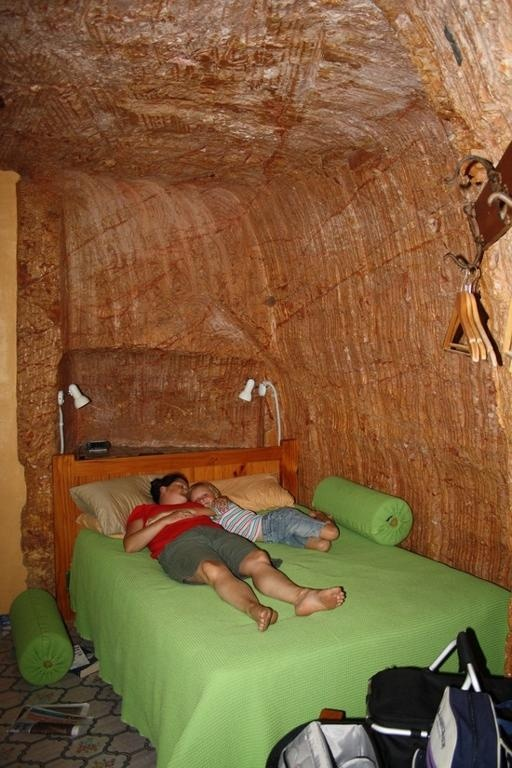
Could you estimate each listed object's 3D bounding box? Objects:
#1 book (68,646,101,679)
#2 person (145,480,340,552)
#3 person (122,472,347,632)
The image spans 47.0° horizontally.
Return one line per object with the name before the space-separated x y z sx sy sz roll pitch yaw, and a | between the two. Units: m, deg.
book | -0.799 1.313 2.755 0.189 0.041 0.171 3 5 -44
person | 0.006 0.688 3.083 0.839 0.289 0.508 3 11 13
person | -0.175 0.668 2.571 0.495 0.493 1.212 8 -8 -36
